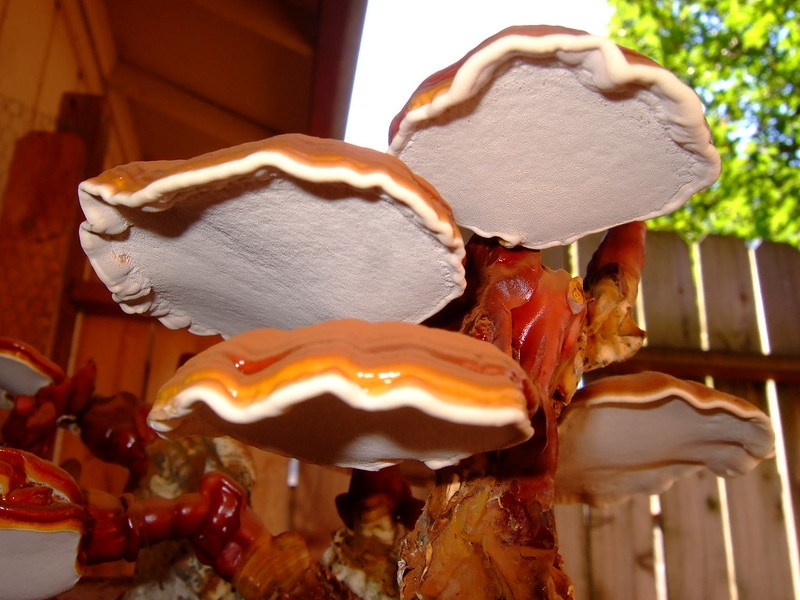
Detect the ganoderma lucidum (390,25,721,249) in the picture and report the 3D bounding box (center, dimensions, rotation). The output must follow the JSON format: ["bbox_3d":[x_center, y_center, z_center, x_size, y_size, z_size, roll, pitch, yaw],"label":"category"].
[{"bbox_3d":[0.382,-0.367,2.027,0.779,0.329,0.555,12,-16,-20],"label":"ganoderma lucidum"}]

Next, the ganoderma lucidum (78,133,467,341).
[{"bbox_3d":[-0.288,-0.142,1.959,0.887,0.336,0.533,3,-15,12],"label":"ganoderma lucidum"}]

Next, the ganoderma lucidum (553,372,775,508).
[{"bbox_3d":[0.748,0.402,2.424,0.492,0.196,0.490,12,-38,-37],"label":"ganoderma lucidum"}]
